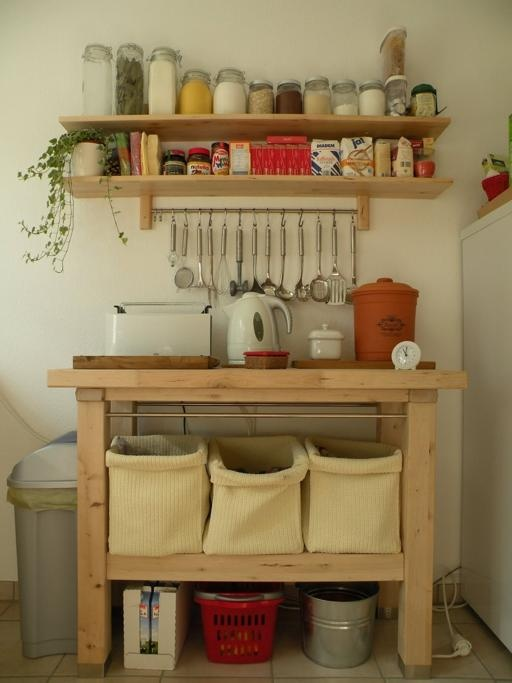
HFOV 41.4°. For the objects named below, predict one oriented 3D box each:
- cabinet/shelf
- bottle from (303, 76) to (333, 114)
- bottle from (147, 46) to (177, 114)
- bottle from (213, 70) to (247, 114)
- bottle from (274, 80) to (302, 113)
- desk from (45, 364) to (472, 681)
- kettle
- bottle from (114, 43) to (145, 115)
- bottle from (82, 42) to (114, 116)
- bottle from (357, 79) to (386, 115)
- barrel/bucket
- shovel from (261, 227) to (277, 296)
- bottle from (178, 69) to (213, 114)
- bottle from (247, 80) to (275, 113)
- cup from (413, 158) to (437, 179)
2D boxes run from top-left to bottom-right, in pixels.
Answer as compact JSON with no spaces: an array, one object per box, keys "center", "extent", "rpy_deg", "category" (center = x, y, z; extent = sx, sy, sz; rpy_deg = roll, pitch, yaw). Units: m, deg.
[{"center":[0.010,-0.597,2.431],"extent":[1.370,0.386,0.220],"rpy_deg":[0,7,0],"category":"cabinet/shelf"},{"center":[0.215,-0.859,2.397],"extent":[0.106,0.135,0.142],"rpy_deg":[0,-1,-1],"category":"bottle"},{"center":[-0.327,-0.912,2.379],"extent":[0.102,0.240,0.111],"rpy_deg":[0,7,0],"category":"bottle"},{"center":[-0.090,-0.874,2.381],"extent":[0.120,0.178,0.142],"rpy_deg":[0,7,-2],"category":"bottle"},{"center":[0.116,-0.855,2.390],"extent":[0.089,0.122,0.122],"rpy_deg":[0,-2,-1],"category":"bottle"},{"center":[0.023,0.522,2.243],"extent":[1.408,1.023,0.855],"rpy_deg":[0,5,1],"category":"desk"},{"center":[0.010,-0.037,2.193],"extent":[0.216,0.232,0.276],"rpy_deg":[0,7,-3],"category":"kettle"},{"center":[-0.450,-0.924,2.400],"extent":[0.103,0.256,0.124],"rpy_deg":[-1,7,-7],"category":"bottle"},{"center":[-0.558,-0.922,2.389],"extent":[0.100,0.249,0.080],"rpy_deg":[-2,8,-17],"category":"bottle"},{"center":[0.406,-0.856,2.396],"extent":[0.100,0.113,0.119],"rpy_deg":[0,1,-1],"category":"bottle"},{"center":[0.252,0.868,2.105],"extent":[0.209,0.173,0.239],"rpy_deg":[-1,-10,3],"category":"barrel/bucket"},{"center":[0.049,-0.302,2.485],"extent":[0.052,0.258,0.082],"rpy_deg":[0,7,1],"category":"shovel"},{"center":[-0.216,-0.876,2.412],"extent":[0.124,0.178,0.207],"rpy_deg":[0,7,-6],"category":"bottle"},{"center":[0.019,-0.851,2.428],"extent":[0.111,0.155,0.110],"rpy_deg":[1,-1,0],"category":"bottle"},{"center":[0.605,-0.610,2.404],"extent":[0.070,0.057,0.075],"rpy_deg":[-1,0,0],"category":"cup"}]
